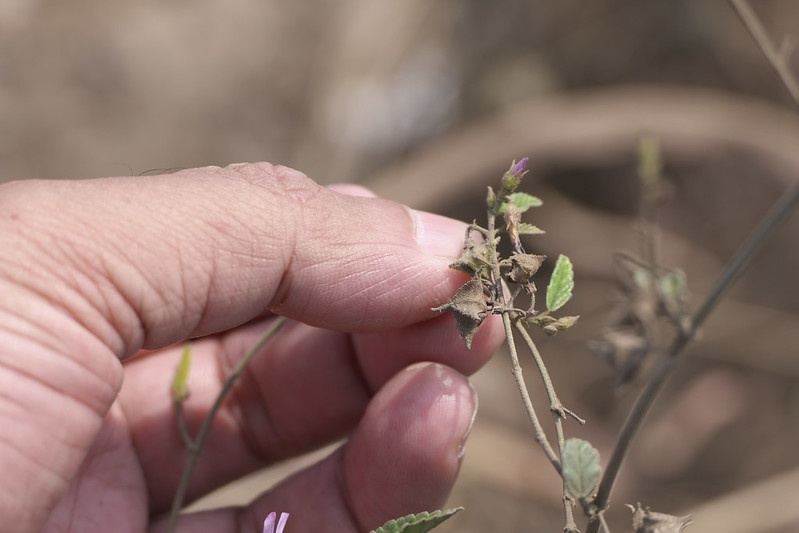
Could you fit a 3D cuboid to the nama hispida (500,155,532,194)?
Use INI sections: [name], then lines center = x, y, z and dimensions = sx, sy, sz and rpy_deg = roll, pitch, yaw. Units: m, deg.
[nama hispida]
center = 0.146, -0.113, 1.095
dimensions = 0.023, 0.022, 0.069
rpy_deg = 26, -49, -4
